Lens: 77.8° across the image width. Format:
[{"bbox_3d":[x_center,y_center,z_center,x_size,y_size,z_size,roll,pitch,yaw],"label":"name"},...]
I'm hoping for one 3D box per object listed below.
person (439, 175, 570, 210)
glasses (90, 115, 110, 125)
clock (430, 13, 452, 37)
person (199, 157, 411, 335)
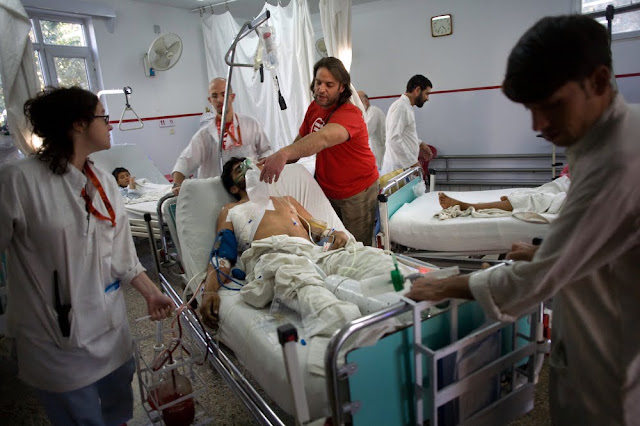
[{"bbox_3d":[1.728,-0.124,3.573,0.721,0.230,0.567,3,18,29],"label":"person"},{"bbox_3d":[-1.124,-0.476,2.003,0.085,0.026,0.087,-9,10,-10],"label":"glasses"},{"bbox_3d":[1.952,-3.005,6.349,0.378,0.389,0.051,6,26,31],"label":"clock"},{"bbox_3d":[-0.256,0.162,2.694,1.182,0.945,1.705,-8,16,-21],"label":"person"}]
